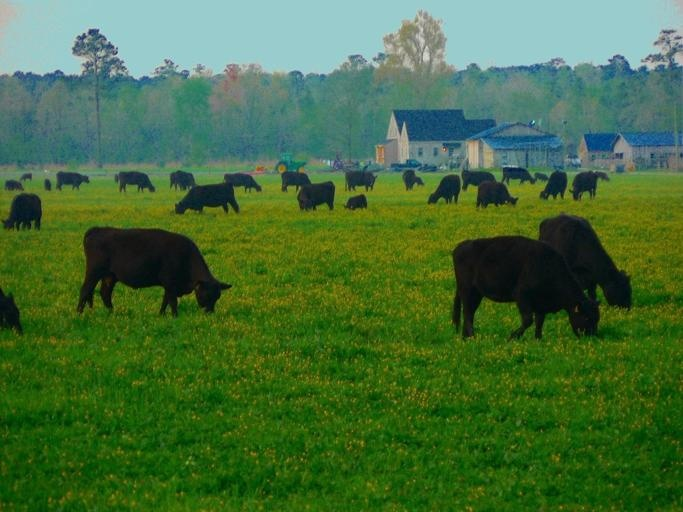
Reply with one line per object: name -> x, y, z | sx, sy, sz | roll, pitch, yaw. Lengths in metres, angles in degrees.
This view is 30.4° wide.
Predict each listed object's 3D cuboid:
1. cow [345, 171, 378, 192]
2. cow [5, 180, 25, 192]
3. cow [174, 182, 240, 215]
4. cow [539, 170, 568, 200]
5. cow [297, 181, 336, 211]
cow -> 1.610, -6.078, 101.731 | 2.000, 1.596, 2.809 | 6, 7, 40
cow -> -25.667, -5.538, 98.274 | 1.278, 0.770, 2.476 | -1, 6, -18
cow -> -8.837, -3.826, 83.044 | 3.971, 1.957, 1.235 | -1, 6, -18
cow -> 15.045, -4.980, 88.636 | 1.660, 2.006, 1.655 | 2, 5, 8
cow -> -1.637, -4.062, 85.029 | 2.911, 1.874, 1.586 | -3, 7, -39
